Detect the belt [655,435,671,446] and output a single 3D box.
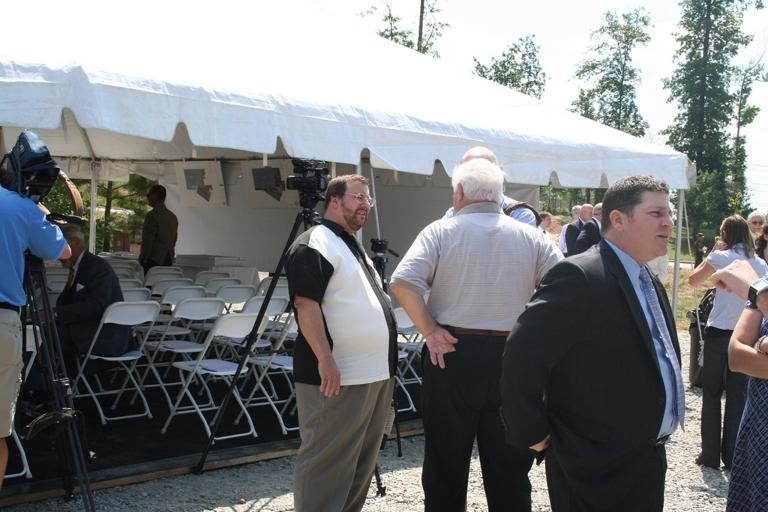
[{"bbox_3d":[1.581,1.050,4.428,0.067,0.026,0.067,-3,8,9],"label":"belt"}]
